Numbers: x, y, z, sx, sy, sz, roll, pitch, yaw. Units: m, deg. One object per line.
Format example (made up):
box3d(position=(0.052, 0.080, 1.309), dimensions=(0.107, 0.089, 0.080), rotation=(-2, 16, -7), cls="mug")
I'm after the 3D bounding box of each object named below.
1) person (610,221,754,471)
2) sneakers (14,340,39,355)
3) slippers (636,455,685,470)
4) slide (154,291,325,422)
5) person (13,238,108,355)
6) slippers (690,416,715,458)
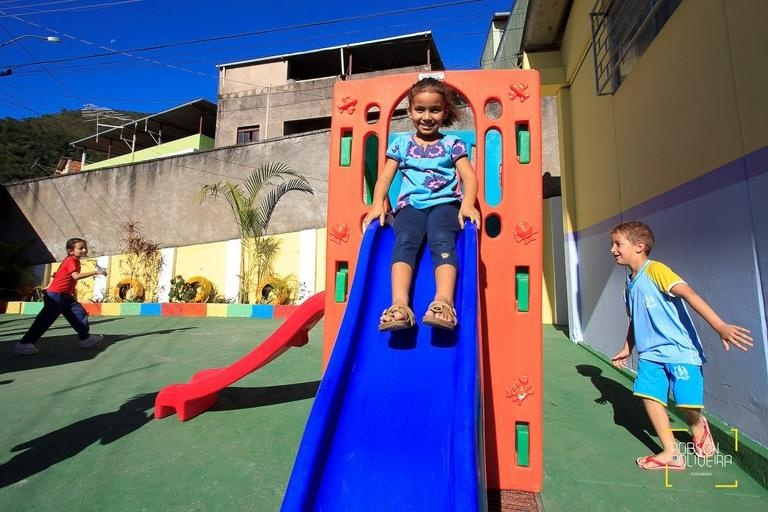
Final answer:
box3d(position=(2.473, 0.781, 3.984), dimensions=(1.075, 2.058, 0.662), rotation=(6, 11, 31), cls="person")
box3d(position=(-5.296, 1.360, 6.844), dimensions=(0.282, 0.199, 0.149), rotation=(3, 27, -48), cls="sneakers")
box3d(position=(2.363, 1.766, 3.966), dimensions=(0.364, 0.094, 0.155), rotation=(1, 7, 8), cls="slippers")
box3d(position=(-1.401, 0.994, 4.932), dimensions=(2.125, 1.171, 0.512), rotation=(-7, 5, 2), cls="slide")
box3d(position=(-5.005, 0.628, 7.114), dimensions=(0.901, 1.769, 0.650), rotation=(-3, 10, -20), cls="person")
box3d(position=(2.804, 1.601, 4.060), dimensions=(0.149, 0.457, 0.100), rotation=(-2, 7, 29), cls="slippers")
